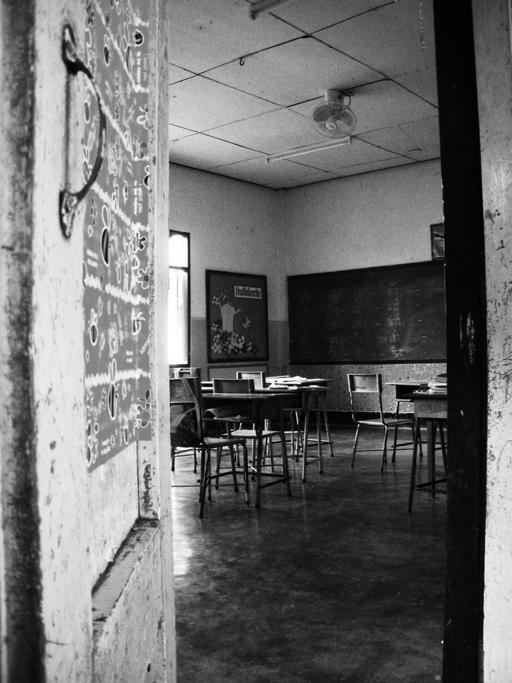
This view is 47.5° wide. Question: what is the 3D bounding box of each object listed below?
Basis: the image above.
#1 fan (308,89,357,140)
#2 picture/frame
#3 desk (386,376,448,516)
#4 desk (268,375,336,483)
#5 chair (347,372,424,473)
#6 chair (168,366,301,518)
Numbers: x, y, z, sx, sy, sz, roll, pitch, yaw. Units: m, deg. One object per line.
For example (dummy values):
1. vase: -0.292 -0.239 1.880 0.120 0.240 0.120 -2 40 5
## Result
1. fan: 0.780 -2.393 5.939 0.429 0.522 0.712 -1 -1 9
2. picture/frame: -0.299 -0.403 9.063 0.966 1.687 0.055 4 -30 -11
3. desk: 1.346 0.888 4.875 0.269 0.891 0.758 0 -2 26
4. desk: 0.358 0.947 5.815 0.529 1.045 0.614 -10 3 -24
5. chair: 1.216 0.731 5.936 0.399 1.059 0.561 -3 7 23
6. chair: -0.164 0.758 5.093 0.881 1.026 2.423 -1 -1 3
